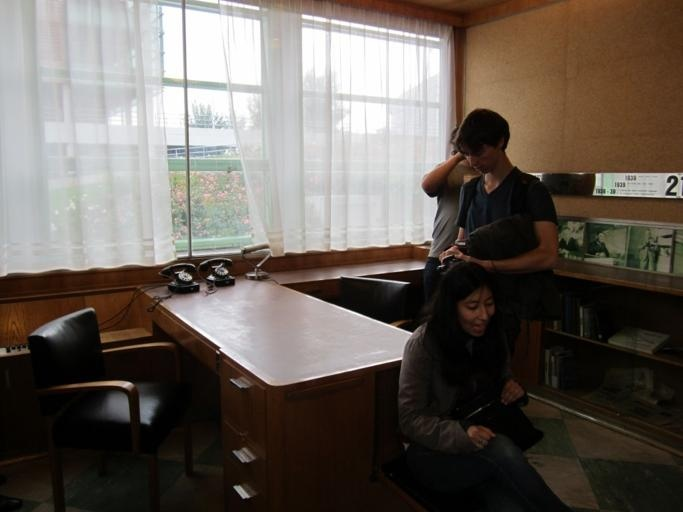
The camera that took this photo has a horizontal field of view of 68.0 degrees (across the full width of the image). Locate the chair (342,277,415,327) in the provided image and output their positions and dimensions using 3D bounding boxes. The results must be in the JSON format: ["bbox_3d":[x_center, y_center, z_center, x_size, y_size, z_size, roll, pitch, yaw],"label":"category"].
[{"bbox_3d":[0.274,0.280,3.671,0.334,0.480,0.355,2,1,34],"label":"chair"}]

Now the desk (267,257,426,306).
[{"bbox_3d":[-0.185,0.145,3.958,0.312,0.299,0.932,28,12,28],"label":"desk"}]

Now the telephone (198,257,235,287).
[{"bbox_3d":[-0.900,0.110,3.644,0.274,0.209,0.184,-4,6,-42],"label":"telephone"}]
